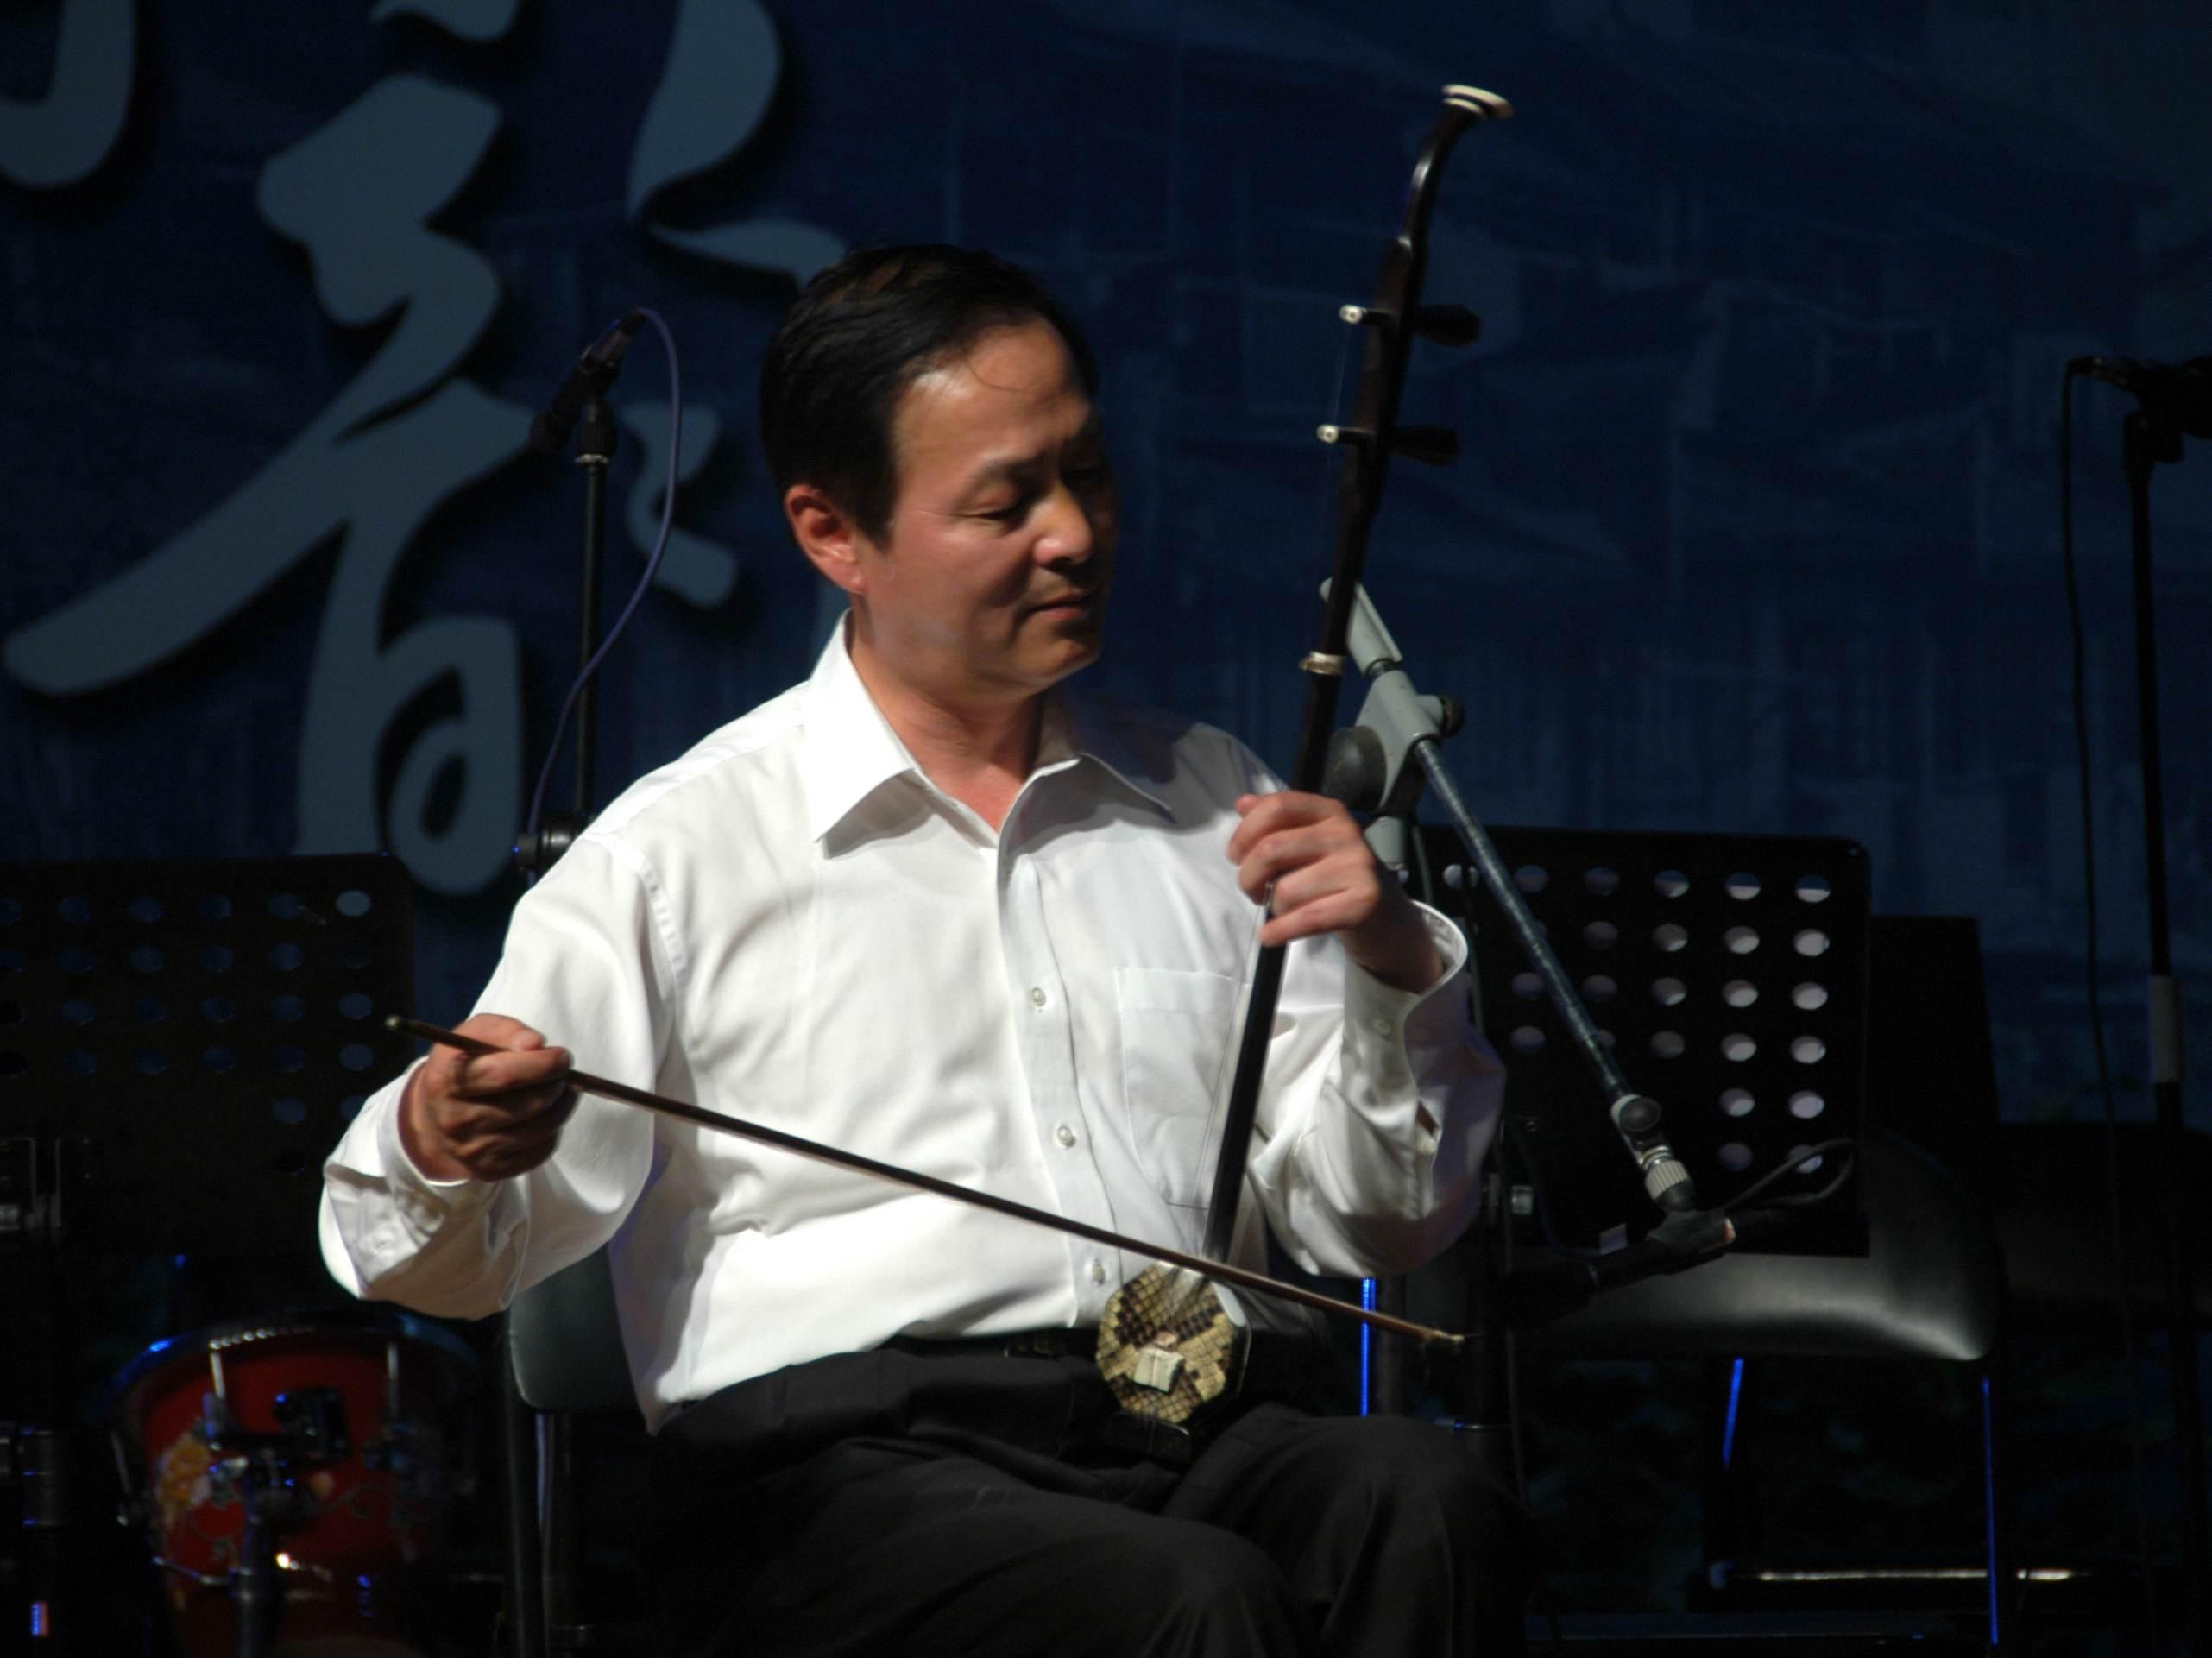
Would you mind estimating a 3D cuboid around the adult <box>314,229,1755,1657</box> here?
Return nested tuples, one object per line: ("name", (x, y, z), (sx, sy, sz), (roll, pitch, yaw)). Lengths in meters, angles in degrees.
("adult", (-0.149, 0.194, 3.959), (1.553, 0.992, 0.864), (4, 15, 27))

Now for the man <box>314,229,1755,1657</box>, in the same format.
("man", (-0.160, 0.110, 3.870), (1.143, 1.435, 0.364), (1, -12, -5))

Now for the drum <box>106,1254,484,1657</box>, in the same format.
("drum", (-0.971, 0.765, 4.504), (0.390, 0.294, 0.401), (-3, -28, -1))
